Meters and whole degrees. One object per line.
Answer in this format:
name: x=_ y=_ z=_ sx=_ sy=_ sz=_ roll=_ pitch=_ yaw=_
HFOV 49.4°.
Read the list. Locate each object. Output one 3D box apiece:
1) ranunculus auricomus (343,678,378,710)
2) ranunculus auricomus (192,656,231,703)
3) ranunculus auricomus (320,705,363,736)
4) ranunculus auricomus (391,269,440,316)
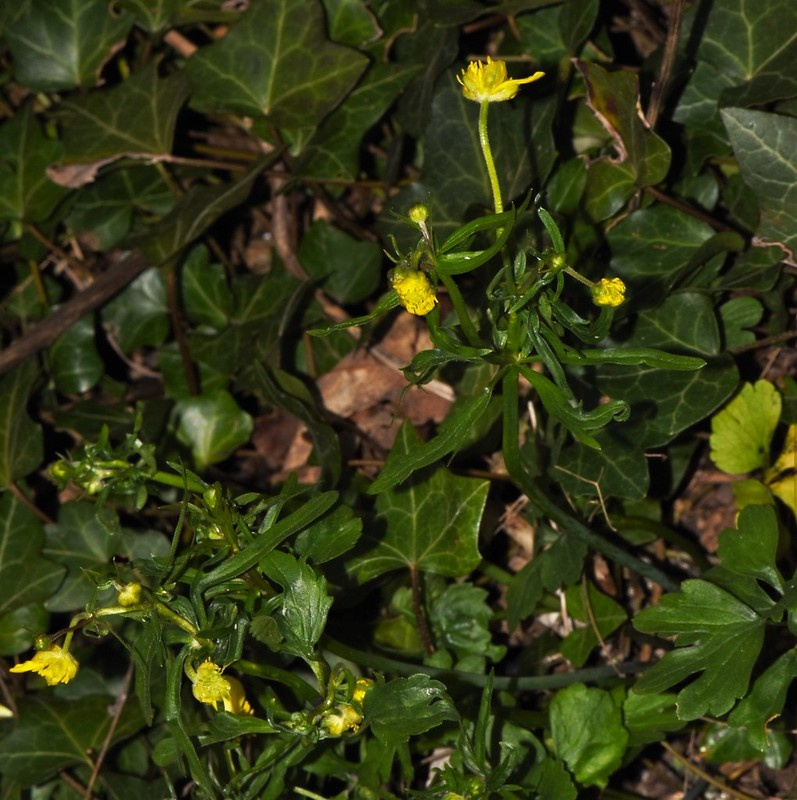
ranunculus auricomus: x=-0.044 y=0.348 z=1.032 sx=0.030 sy=0.009 sz=0.036 roll=-2 pitch=41 yaw=11
ranunculus auricomus: x=-0.205 y=0.312 z=0.990 sx=0.057 sy=0.039 sz=0.029 roll=24 pitch=45 yaw=31
ranunculus auricomus: x=-0.067 y=0.370 z=1.004 sx=0.048 sy=0.016 sz=0.032 roll=-6 pitch=95 yaw=-20
ranunculus auricomus: x=0.011 y=-0.110 z=0.939 sx=0.042 sy=0.026 sz=0.050 roll=-36 pitch=92 yaw=-35
